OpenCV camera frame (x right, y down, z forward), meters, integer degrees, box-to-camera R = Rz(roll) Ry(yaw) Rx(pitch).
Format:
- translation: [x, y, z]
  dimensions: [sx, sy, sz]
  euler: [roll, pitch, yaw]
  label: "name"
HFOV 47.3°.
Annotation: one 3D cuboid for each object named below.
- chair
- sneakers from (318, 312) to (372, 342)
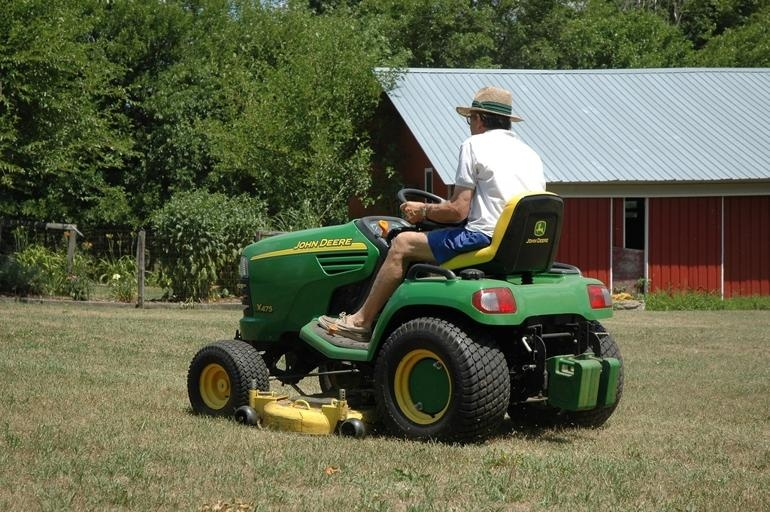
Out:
- translation: [1.452, -0.225, 10.145]
  dimensions: [0.848, 0.966, 1.331]
  euler: [0, 4, -25]
  label: "chair"
- translation: [-0.460, 0.819, 10.145]
  dimensions: [0.622, 0.274, 0.259]
  euler: [20, 2, 16]
  label: "sneakers"
